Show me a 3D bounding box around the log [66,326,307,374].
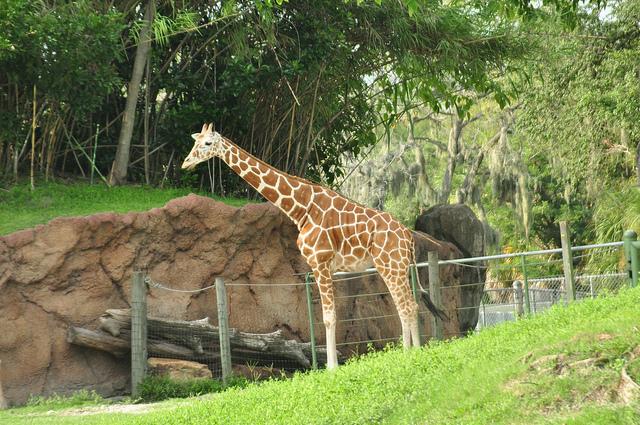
[{"bbox_3d":[-2.107,2.984,21.327,4.035,0.645,0.712,-5,36,0],"label":"log"}]
